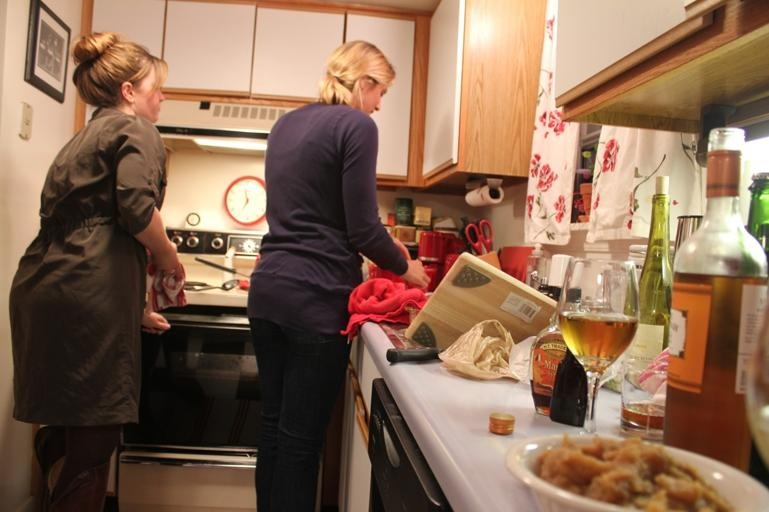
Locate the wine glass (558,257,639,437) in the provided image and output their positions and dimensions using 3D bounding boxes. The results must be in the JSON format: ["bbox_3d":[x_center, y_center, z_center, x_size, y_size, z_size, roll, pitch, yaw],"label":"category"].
[{"bbox_3d":[0.352,0.148,0.892,0.130,0.286,0.084,3,4,7],"label":"wine glass"}]

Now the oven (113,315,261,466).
[{"bbox_3d":[-0.883,0.635,2.526,0.566,0.653,0.708,1,-14,45],"label":"oven"}]

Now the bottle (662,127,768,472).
[{"bbox_3d":[0.513,0.062,0.818,0.127,0.510,0.074,4,5,26],"label":"bottle"}]

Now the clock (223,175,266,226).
[{"bbox_3d":[-0.795,-0.307,3.036,0.279,0.310,0.051,1,-4,0],"label":"clock"}]
